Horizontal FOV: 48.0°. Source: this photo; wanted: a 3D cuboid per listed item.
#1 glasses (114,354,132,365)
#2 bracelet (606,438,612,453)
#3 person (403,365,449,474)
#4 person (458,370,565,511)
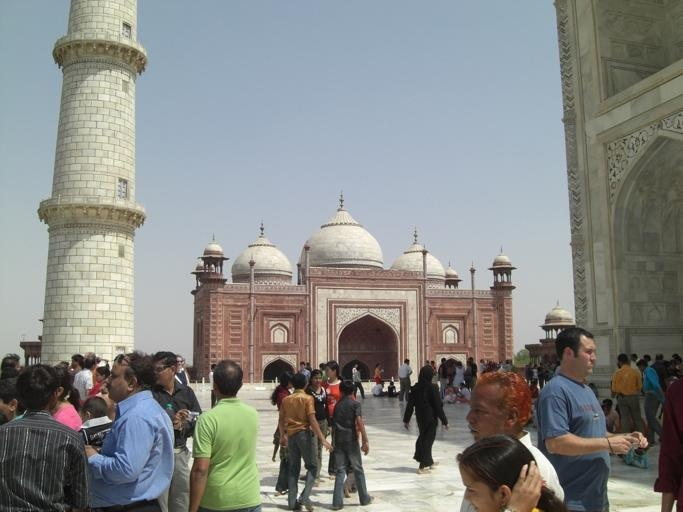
[{"bbox_3d":[-1.807,0.850,6.312,0.087,0.116,0.113,6,4,-32],"label":"glasses"},{"bbox_3d":[2.086,1.484,5.954,0.032,0.084,0.074,-9,5,2],"label":"bracelet"},{"bbox_3d":[1.151,2.190,10.374,0.473,1.420,1.238,-1,-8,-2],"label":"person"},{"bbox_3d":[1.365,1.534,5.836,0.804,1.287,1.511,3,-12,5],"label":"person"}]
